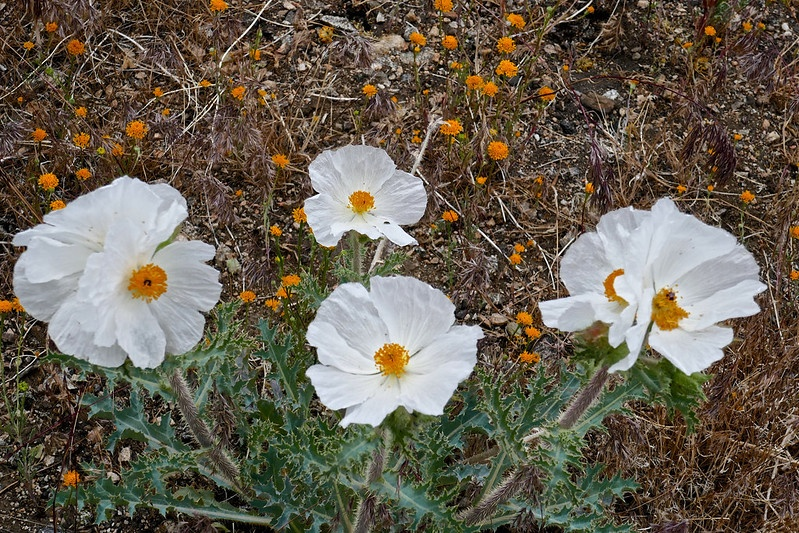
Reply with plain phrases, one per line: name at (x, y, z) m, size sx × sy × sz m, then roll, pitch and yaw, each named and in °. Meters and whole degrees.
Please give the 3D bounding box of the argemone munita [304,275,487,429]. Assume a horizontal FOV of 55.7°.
argemone munita at (-0.043, 0.459, 3.501) m, size 0.268 × 0.824 × 0.755 m, roll -30°, pitch 51°, yaw -35°

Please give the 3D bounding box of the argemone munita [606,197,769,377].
argemone munita at (1.315, 0.143, 3.560) m, size 0.672 × 0.214 × 0.753 m, roll 26°, pitch 79°, yaw 2°

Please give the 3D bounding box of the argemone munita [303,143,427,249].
argemone munita at (-0.201, -0.395, 4.063) m, size 0.586 × 0.236 × 0.567 m, roll -4°, pitch 73°, yaw -17°
